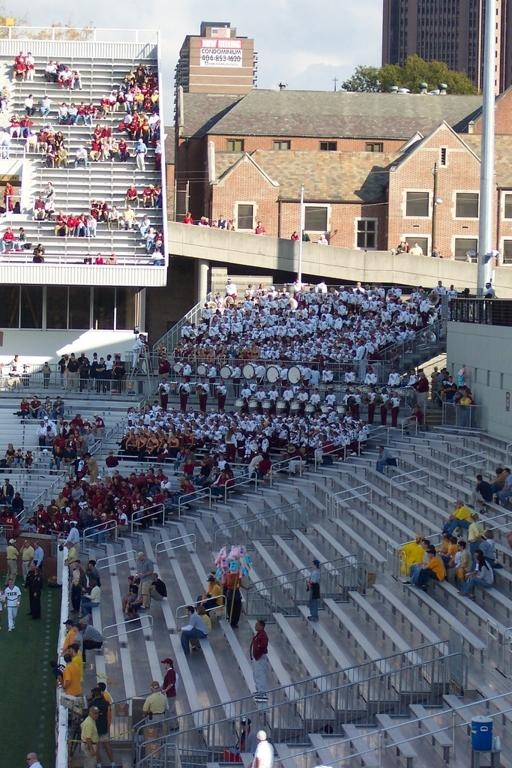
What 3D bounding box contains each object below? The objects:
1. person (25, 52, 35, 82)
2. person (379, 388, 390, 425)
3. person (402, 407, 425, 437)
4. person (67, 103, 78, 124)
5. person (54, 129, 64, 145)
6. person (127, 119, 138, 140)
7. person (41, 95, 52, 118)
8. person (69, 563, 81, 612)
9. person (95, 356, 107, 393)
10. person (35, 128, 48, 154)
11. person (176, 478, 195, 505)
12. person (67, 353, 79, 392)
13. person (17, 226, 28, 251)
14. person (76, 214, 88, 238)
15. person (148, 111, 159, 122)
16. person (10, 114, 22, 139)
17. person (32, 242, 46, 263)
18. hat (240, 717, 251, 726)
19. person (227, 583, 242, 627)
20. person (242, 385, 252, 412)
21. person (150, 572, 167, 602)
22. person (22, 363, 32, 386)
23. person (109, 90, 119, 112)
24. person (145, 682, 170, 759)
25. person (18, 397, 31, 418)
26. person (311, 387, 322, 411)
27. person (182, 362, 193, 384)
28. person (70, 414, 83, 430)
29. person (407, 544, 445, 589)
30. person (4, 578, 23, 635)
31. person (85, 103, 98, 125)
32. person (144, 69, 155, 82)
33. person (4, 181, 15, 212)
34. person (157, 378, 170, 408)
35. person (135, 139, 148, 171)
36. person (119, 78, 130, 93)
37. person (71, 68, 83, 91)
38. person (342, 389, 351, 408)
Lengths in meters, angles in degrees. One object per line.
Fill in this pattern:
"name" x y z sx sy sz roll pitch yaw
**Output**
"person" -10.233 -14.400 51.813 0.392 1.348 0.888 -2 2 -10
"person" 3.811 0.774 33.815 0.252 0.897 0.915 -1 3 6
"person" 4.576 1.105 32.566 0.647 1.084 0.701 0 0 -22
"person" -7.967 -11.780 49.676 0.306 0.989 0.383 3 -25 -5
"person" -8.333 -10.405 48.344 0.405 0.700 0.827 -2 3 -9
"person" -5.304 -11.058 49.564 0.463 0.882 0.228 -1 2 -7
"person" -9.208 -12.159 49.981 0.408 0.926 0.584 -1 2 -5
"person" -3.953 4.543 25.167 0.255 1.081 0.555 -2 2 -11
"person" -5.518 -0.234 40.752 0.418 1.058 0.995 -1 3 -8
"person" -8.967 -10.240 48.163 0.487 1.112 0.846 -2 2 -11
"person" -1.947 3.043 32.076 0.446 0.756 0.647 -1 2 -4
"person" -6.577 -0.319 41.147 0.422 1.126 0.970 -2 2 -10
"person" -9.042 -5.621 44.418 0.450 0.930 1.193 -2 3 -11
"person" -6.863 -6.223 45.104 0.302 0.952 0.485 4 -34 -7
"person" -4.476 -11.768 50.296 0.493 0.676 0.720 -2 3 -6
"person" -10.257 -10.920 48.779 0.539 1.047 0.916 -2 2 -11
"person" -8.223 -4.927 43.182 0.454 0.754 1.571 -2 3 -11
"hat" -0.162 5.058 17.009 0.150 0.096 0.224 1 -5 -6
"person" -0.449 4.496 22.975 0.277 0.915 0.580 -1 2 -2
"person" -0.293 0.482 36.673 0.315 0.824 0.744 -1 2 -1
"person" -2.154 4.536 25.424 0.488 0.788 0.400 3 4 -2
"person" -8.441 -0.281 41.951 0.354 0.759 0.472 -2 2 -10
"person" -6.310 -12.620 50.907 0.391 1.066 0.886 -1 2 -6
"person" -1.522 5.094 17.364 0.378 0.876 1.453 -1 3 -6
"person" -7.914 0.864 38.982 0.453 0.605 0.988 -2 3 -12
"person" 1.849 0.511 35.556 0.326 0.544 1.112 -1 3 3
"person" -2.335 -0.378 38.289 0.433 0.855 0.617 2 -2 4
"person" -5.733 1.258 36.769 0.434 0.767 0.430 4 -3 -19
"person" 3.233 3.490 21.670 0.695 1.104 0.601 3 2 11
"person" -5.406 4.915 25.247 0.345 1.179 0.882 -2 2 -13
"person" -7.219 -11.820 50.026 0.528 0.677 0.945 -1 15 -8
"person" -4.841 -14.218 52.489 0.453 0.842 0.950 -1 3 -5
"person" -10.019 -7.583 46.447 0.415 1.334 1.663 -2 3 -12
"person" -3.068 0.384 38.195 0.382 0.981 0.844 -1 2 -4
"person" -4.893 -9.723 48.708 0.396 1.260 0.635 -1 2 -6
"person" -5.860 -13.494 51.561 0.492 0.768 0.256 -2 -13 -2
"person" -8.081 -13.780 51.603 0.497 1.014 0.820 -2 2 -8
"person" 2.754 0.424 34.765 0.255 0.529 0.744 -1 3 4
